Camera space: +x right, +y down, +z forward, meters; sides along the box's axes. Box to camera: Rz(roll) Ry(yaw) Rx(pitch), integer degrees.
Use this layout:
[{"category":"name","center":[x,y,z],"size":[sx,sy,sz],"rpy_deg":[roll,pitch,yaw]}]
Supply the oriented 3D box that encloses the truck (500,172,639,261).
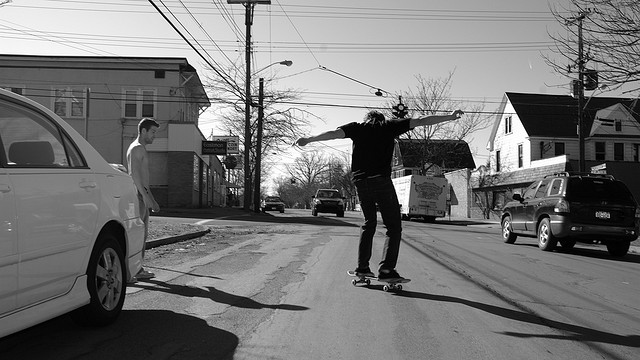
[{"category":"truck","center":[7.507,0.960,16.460],"size":[2.118,1.763,4.140],"rpy_deg":[3,0,-9]}]

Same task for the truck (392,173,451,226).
[{"category":"truck","center":[6.934,1.316,35.460],"size":[2.917,2.550,5.210],"rpy_deg":[4,-3,9]}]

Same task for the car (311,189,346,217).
[{"category":"car","center":[0.637,1.656,36.866],"size":[1.970,1.773,2.655],"rpy_deg":[1,5,-3]}]

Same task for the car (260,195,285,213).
[{"category":"car","center":[-3.801,2.030,44.411],"size":[1.613,1.181,3.372],"rpy_deg":[0,0,-4]}]

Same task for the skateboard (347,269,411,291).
[{"category":"skateboard","center":[1.104,1.857,9.738],"size":[1.648,0.253,0.396],"rpy_deg":[2,0,37]}]
